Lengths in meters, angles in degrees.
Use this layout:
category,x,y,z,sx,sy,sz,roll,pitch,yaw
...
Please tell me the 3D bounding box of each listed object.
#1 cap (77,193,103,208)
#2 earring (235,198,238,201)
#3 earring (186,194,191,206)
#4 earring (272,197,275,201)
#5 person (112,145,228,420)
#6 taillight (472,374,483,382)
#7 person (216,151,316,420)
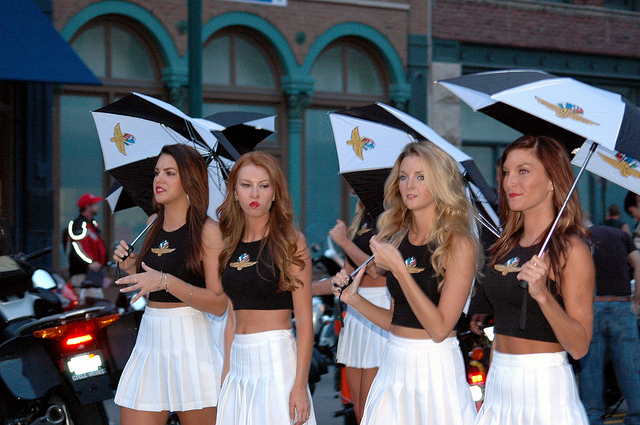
category,x,y,z,sx,sy,sz,roll,pitch,yaw
cap,-4.159,-0.247,15.537,0.401,0.247,0.304,-18,18,-10
earring,-0.875,-0.141,8.933,0.024,0.026,0.012,-4,-4,32
earring,-1.381,-0.136,9.013,0.032,0.104,0.068,-5,-8,-19
earring,-0.481,-0.146,8.755,0.027,0.033,0.007,-2,9,13
person,-1.527,0.712,8.959,1.102,2.860,0.724,-1,-3,-10
taillight,1.871,1.989,10.336,0.077,0.089,0.019,5,3,-15
person,-0.570,0.725,8.689,0.977,2.701,0.506,-2,-3,3
